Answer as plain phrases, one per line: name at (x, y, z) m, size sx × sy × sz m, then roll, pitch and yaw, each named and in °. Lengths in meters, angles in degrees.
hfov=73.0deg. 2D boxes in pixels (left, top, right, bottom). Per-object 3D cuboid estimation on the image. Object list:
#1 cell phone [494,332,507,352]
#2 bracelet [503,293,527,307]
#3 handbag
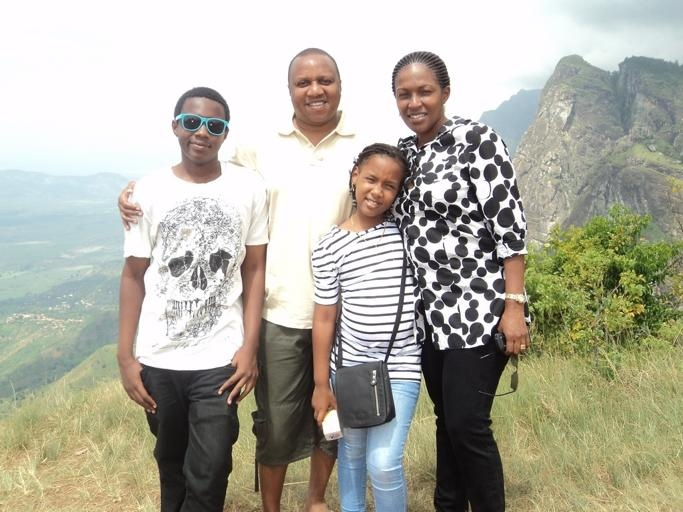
cell phone at (1.082, 0.588, 3.151) m, size 0.079 × 0.127 × 0.038 m, roll 9°, pitch 12°, yaw 40°
bracelet at (1.189, 0.299, 3.150) m, size 0.092 × 0.050 × 0.092 m, roll 4°, pitch -10°, yaw 41°
handbag at (0.169, 0.972, 3.199) m, size 0.382 × 0.386 × 0.168 m, roll -12°, pitch -17°, yaw 22°
